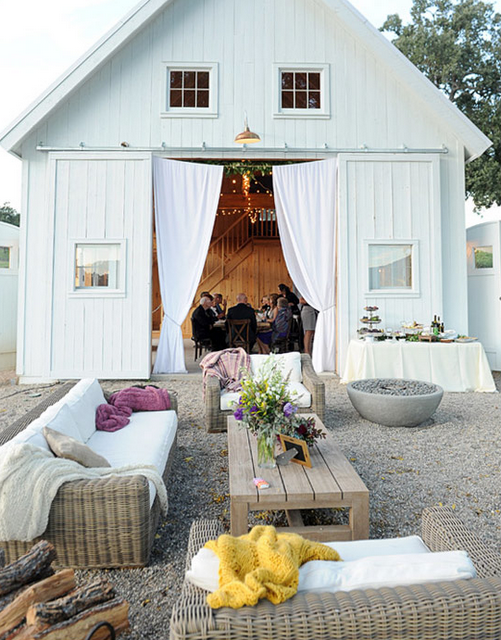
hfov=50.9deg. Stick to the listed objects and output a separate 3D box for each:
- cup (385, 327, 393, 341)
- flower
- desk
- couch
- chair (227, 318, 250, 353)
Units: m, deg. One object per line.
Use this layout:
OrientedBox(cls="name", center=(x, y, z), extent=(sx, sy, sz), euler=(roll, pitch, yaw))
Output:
OrientedBox(cls="cup", center=(1.809, 0.194, 6.891), extent=(0.090, 0.185, 0.096), euler=(1, 10, 0))
OrientedBox(cls="flower", center=(0.189, 0.471, 3.085), extent=(0.561, 0.778, 0.518), euler=(-2, -6, -39))
OrientedBox(cls="desk", center=(2.105, 0.568, 6.470), extent=(1.719, 0.631, 0.434), euler=(0, 3, -3))
OrientedBox(cls="couch", center=(-0.862, 0.803, 2.637), extent=(0.844, 0.598, 0.930), euler=(-1, 3, -8))
OrientedBox(cls="chair", center=(-0.180, 0.235, 7.983), extent=(0.371, 0.661, 0.444), euler=(1, 12, 5))
